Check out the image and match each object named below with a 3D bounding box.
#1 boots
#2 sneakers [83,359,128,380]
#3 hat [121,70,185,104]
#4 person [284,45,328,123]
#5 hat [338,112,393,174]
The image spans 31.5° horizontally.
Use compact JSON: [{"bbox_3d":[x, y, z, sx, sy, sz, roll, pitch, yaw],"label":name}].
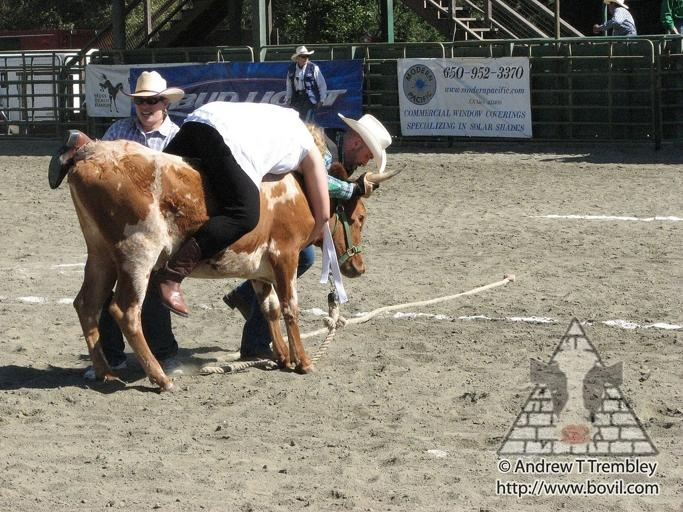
[{"bbox_3d":[-1.368,0.175,10.266,0.368,0.694,0.223,-2,10,-8],"label":"boots"},{"bbox_3d":[-2.097,1.006,10.780,0.143,0.182,0.424,-3,-7,21],"label":"sneakers"},{"bbox_3d":[-1.642,-1.572,10.962,0.320,0.148,0.375,-3,-10,7],"label":"hat"},{"bbox_3d":[-0.712,-3.019,21.027,0.781,1.691,0.665,20,28,35],"label":"person"},{"bbox_3d":[0.290,-1.057,10.947,0.217,0.546,0.465,-38,-4,-8],"label":"hat"}]
